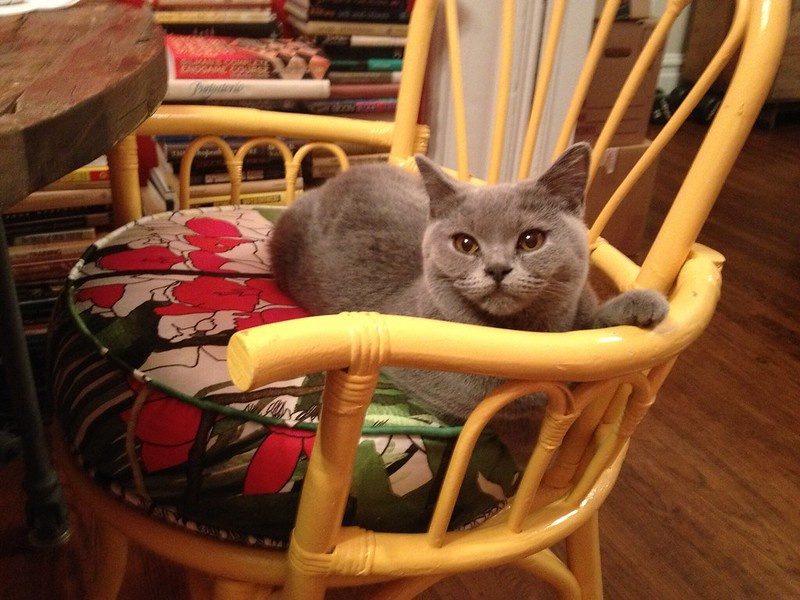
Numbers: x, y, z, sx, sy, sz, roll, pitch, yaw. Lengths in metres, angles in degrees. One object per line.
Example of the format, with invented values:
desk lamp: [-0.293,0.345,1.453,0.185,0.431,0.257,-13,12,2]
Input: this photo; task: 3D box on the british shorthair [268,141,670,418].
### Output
british shorthair: [0.042,-0.075,0.928,0.365,0.346,0.667,-26,33,-26]
